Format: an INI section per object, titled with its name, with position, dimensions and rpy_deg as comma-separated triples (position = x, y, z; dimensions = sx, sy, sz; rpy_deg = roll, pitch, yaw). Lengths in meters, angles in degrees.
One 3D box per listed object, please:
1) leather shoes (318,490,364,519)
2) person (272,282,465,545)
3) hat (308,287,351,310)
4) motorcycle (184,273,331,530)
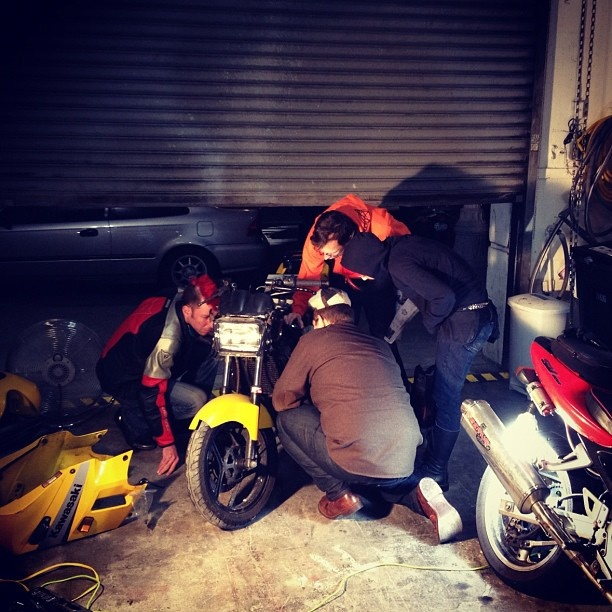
[leather shoes]
position = 0.186, 1.146, 3.096
dimensions = 0.143, 0.151, 0.323
rpy_deg = -37, 5, -20
[person]
position = 0.295, 0.612, 2.970
dimensions = 0.802, 0.980, 1.471
rpy_deg = -5, 20, -18
[hat]
position = 0.138, -0.041, 3.164
dimensions = 0.206, 0.091, 0.129
rpy_deg = 10, 3, -11
[motorcycle]
position = 0.084, 0.490, 3.374
dimensions = 0.749, 0.946, 1.644
rpy_deg = 8, 22, 8
